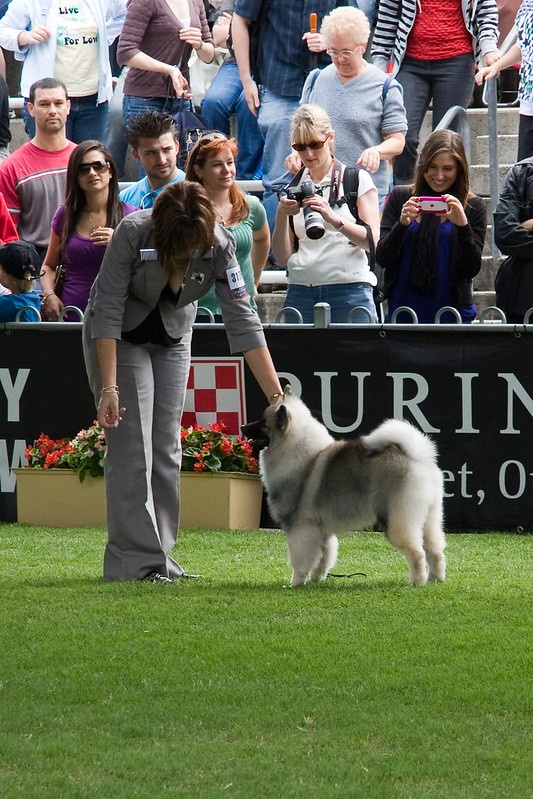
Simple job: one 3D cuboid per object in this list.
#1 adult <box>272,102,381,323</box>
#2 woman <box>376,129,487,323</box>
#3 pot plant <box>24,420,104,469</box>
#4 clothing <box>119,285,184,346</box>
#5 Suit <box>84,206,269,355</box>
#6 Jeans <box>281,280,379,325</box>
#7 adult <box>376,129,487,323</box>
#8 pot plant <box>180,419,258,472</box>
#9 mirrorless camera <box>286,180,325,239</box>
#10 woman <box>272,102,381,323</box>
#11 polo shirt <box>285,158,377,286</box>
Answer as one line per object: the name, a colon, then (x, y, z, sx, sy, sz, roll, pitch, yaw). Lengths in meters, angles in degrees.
adult: (0.297, -0.702, 8.010, 0.536, 1.739, 0.515, -3, -4, 18)
woman: (0.865, -0.918, 7.889, 0.580, 1.026, 0.579, 1, 7, 9)
pot plant: (-1.083, 0.290, 8.045, 0.314, 0.252, 0.336, -2, -1, 0)
clothing: (-0.483, -0.351, 6.044, 0.171, 0.245, 0.116, 7, 12, -39)
Suit: (-0.347, -0.485, 6.060, 0.689, 0.559, 0.681, 10, 22, -5)
Jeans: (0.340, -0.538, 8.076, 0.421, 0.297, 0.235, 0, 2, 13)
adult: (0.865, -0.918, 7.889, 0.580, 1.026, 0.579, 1, 7, 9)
pot plant: (-0.270, 0.289, 7.906, 0.282, 0.227, 0.293, 4, -7, -7)
mirrorless camera: (0.207, -1.010, 7.787, 0.183, 0.320, 0.104, -3, -27, -13)
woman: (0.300, -0.698, 8.025, 0.545, 1.772, 0.490, -3, -4, 24)
polo shirt: (0.343, -0.942, 7.967, 0.604, 0.829, 0.420, -1, -2, 24)
